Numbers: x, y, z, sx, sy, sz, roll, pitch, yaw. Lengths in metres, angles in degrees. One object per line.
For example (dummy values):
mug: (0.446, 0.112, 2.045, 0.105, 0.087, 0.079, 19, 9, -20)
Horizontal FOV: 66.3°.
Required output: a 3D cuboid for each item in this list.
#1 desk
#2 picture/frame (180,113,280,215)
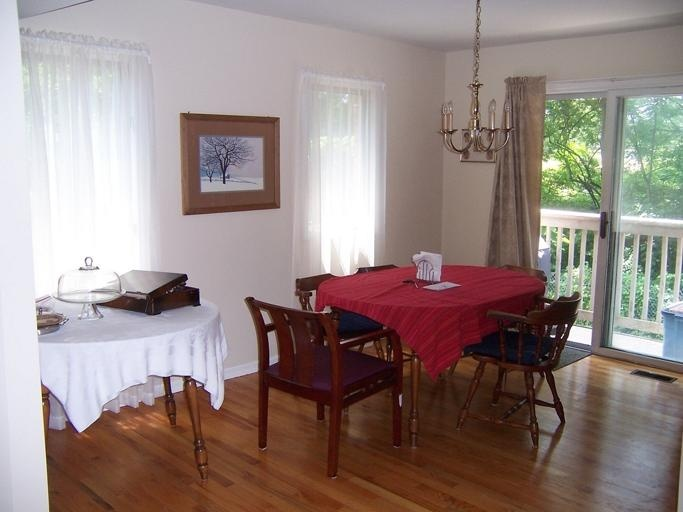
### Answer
desk: (-1.250, 0.812, 3.164, 1.088, 0.832, 1.151, 1, 4, 10)
picture/frame: (-0.928, -0.755, 4.182, 0.844, 0.803, 0.062, -2, 5, -38)
